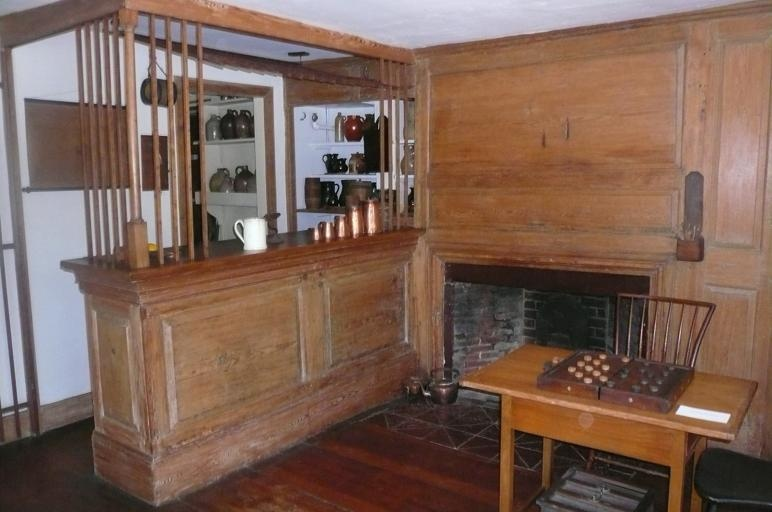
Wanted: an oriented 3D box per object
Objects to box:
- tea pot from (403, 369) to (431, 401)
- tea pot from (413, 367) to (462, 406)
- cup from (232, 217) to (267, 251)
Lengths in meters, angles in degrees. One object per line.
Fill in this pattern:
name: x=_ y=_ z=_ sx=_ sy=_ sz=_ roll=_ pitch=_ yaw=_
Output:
tea pot: x=0.283 y=1.209 z=5.353 sx=0.297 sy=0.186 sz=0.170 roll=1 pitch=0 yaw=-10
tea pot: x=0.447 y=1.150 z=5.279 sx=0.458 sy=0.308 sz=0.348 roll=1 pitch=12 yaw=8
cup: x=-1.007 y=-0.165 z=4.330 sx=0.223 sy=0.224 sz=0.342 roll=-4 pitch=12 yaw=-15
